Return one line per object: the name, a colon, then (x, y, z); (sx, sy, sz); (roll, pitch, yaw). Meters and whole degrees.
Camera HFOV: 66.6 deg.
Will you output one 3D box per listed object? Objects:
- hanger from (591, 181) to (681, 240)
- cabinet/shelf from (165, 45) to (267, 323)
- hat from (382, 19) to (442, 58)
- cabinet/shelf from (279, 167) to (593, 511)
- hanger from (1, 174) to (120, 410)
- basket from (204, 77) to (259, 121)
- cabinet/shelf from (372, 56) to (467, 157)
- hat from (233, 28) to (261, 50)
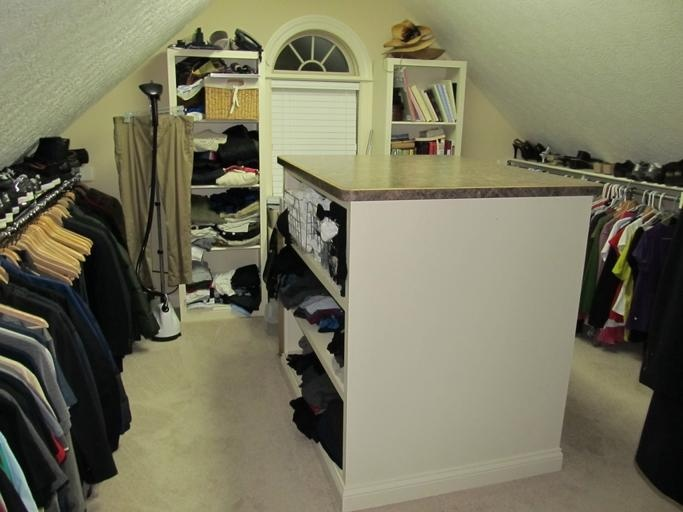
hanger: (1.943, -0.294, 3.444); (0.201, 0.152, 0.450); (-4, 16, -10)
cabinet/shelf: (-0.967, -0.566, 4.260); (0.751, 2.095, 0.577); (-2, 16, -7)
hat: (0.625, -1.823, 4.544); (0.392, 0.193, 0.411); (7, 18, 29)
cabinet/shelf: (0.342, 0.381, 3.113); (1.358, 1.697, 1.786); (-1, 17, -10)
hanger: (-1.350, 0.180, 2.531); (0.627, 0.884, 0.258); (9, 17, 44)
basket: (-0.831, -1.200, 3.939); (0.335, 0.260, 0.331); (-2, 9, -16)
cabinet/shelf: (0.663, -1.340, 4.686); (0.775, 0.812, 0.388); (-5, 17, -16)
hat: (-0.732, -1.621, 3.979); (0.180, 0.066, 0.168); (34, 42, -7)
